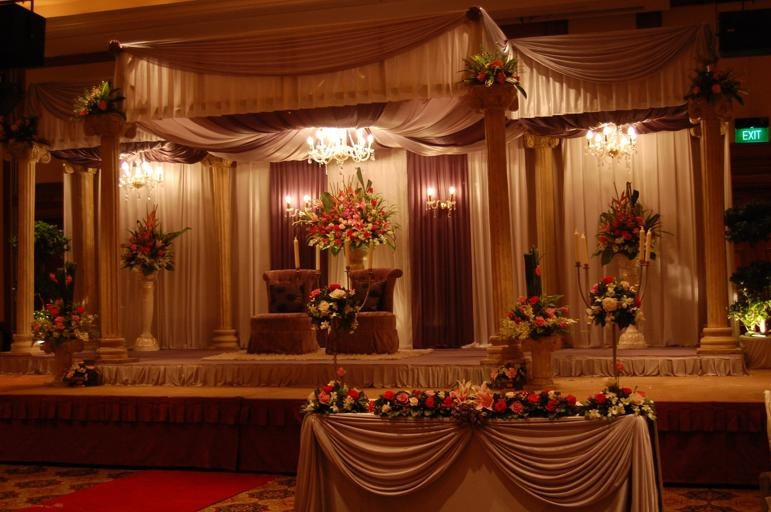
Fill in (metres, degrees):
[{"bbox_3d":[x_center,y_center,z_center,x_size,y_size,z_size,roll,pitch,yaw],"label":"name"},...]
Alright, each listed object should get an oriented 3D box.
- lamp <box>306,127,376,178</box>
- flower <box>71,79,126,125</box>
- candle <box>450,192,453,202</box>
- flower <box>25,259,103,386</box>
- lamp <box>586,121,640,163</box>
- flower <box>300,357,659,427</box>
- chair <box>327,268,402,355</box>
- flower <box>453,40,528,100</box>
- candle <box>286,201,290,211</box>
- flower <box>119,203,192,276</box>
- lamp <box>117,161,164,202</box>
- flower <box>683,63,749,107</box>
[{"bbox_3d":[-0.752,-1.670,12.405,0.676,0.566,0.696,4,6,30],"label":"lamp"},{"bbox_3d":[-3.807,-2.058,10.403,0.614,0.373,0.610,-9,7,6],"label":"flower"},{"bbox_3d":[1.086,-0.988,12.835,0.050,0.112,0.029,-1,-4,-5],"label":"candle"},{"bbox_3d":[-4.186,0.880,10.217,0.833,1.589,0.441,0,-5,-15],"label":"flower"},{"bbox_3d":[3.426,-1.738,11.822,0.566,0.527,0.592,-1,-6,2],"label":"lamp"},{"bbox_3d":[0.843,1.272,7.148,3.079,0.514,0.538,-3,-5,11],"label":"flower"},{"bbox_3d":[-0.407,0.774,11.282,0.969,1.187,1.183,-3,-9,24],"label":"chair"},{"bbox_3d":[1.263,-2.210,9.504,0.819,0.395,0.792,10,29,8],"label":"flower"},{"bbox_3d":[-1.674,-0.889,13.359,0.077,0.137,0.160,-1,-5,-10],"label":"candle"},{"bbox_3d":[-4.073,-0.322,13.375,1.270,1.293,1.010,2,1,-38],"label":"flower"},{"bbox_3d":[-4.243,-1.295,13.478,0.640,0.840,0.631,-1,4,-41],"label":"lamp"},{"bbox_3d":[4.328,-2.210,10.170,0.710,0.479,0.728,6,8,38],"label":"flower"}]
